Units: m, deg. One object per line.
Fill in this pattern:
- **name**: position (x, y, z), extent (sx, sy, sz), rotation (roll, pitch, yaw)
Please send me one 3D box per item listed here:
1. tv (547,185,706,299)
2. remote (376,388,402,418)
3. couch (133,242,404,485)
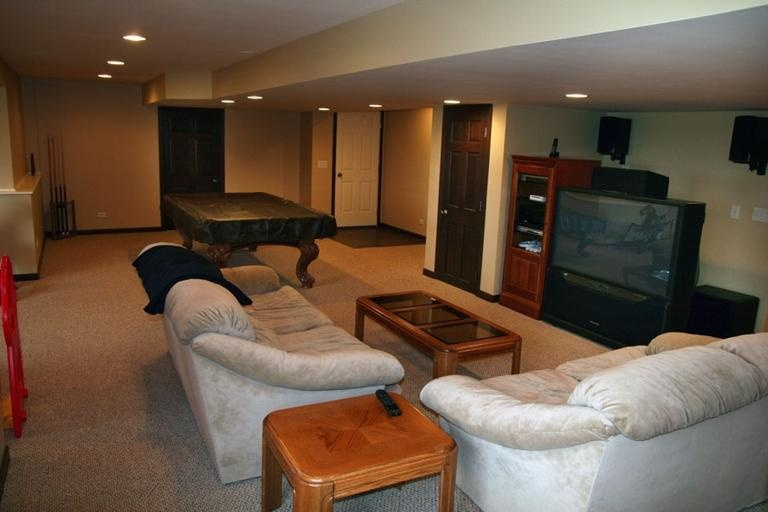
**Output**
- **tv**: position (2.103, -0.085, 5.327), extent (1.621, 1.065, 0.554), rotation (7, 4, -23)
- **remote**: position (0.029, 0.851, 3.084), extent (0.095, 0.068, 0.292), rotation (-24, 15, -7)
- **couch**: position (-1.085, 0.550, 4.311), extent (1.472, 1.019, 2.370), rotation (-4, 15, -27)
